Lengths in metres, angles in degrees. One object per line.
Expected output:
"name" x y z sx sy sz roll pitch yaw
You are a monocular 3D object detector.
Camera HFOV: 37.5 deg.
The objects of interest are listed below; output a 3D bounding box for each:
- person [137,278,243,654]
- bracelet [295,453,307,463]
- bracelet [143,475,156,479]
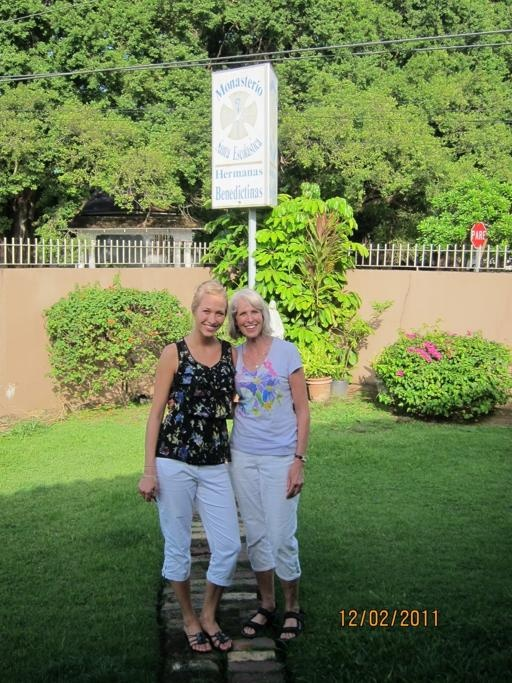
"person" -0.293 0.564 3.370 0.422 1.646 0.320 -2 7 -1
"bracelet" 0.197 0.529 3.398 0.049 0.029 0.050 27 -27 -36
"bracelet" -0.459 0.577 3.246 0.053 0.021 0.025 -1 7 0
